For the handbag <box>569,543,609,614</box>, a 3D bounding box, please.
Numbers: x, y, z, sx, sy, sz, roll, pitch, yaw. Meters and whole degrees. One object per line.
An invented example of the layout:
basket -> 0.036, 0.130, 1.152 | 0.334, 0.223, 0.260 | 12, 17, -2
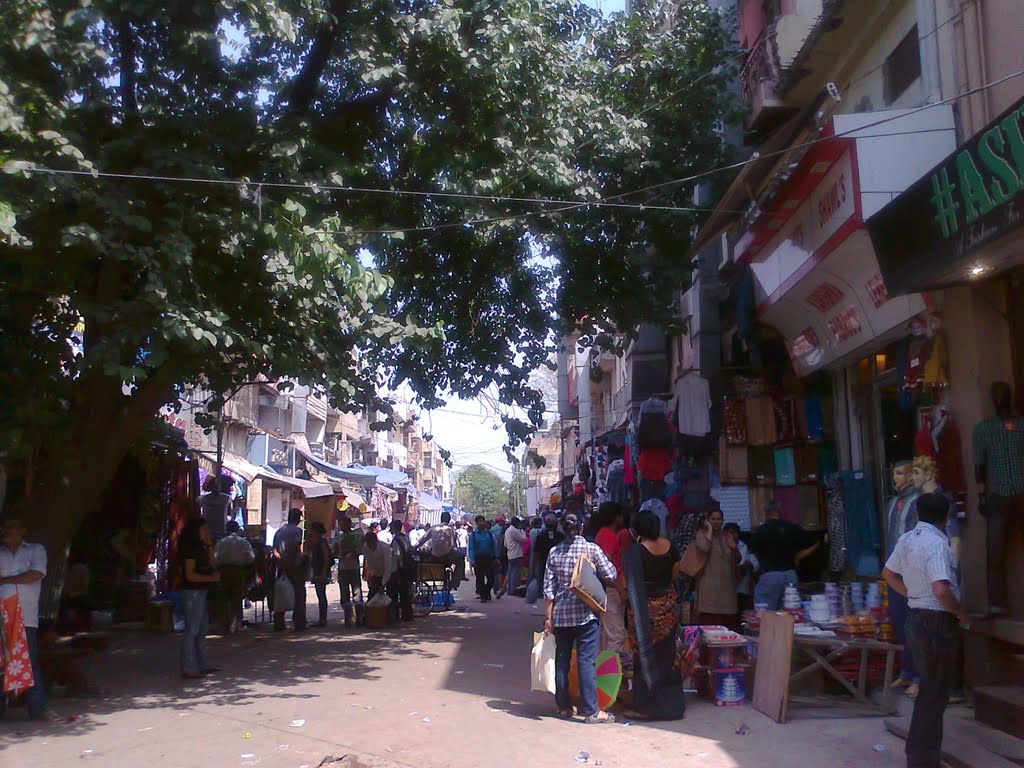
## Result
handbag -> 0.810, 2.062, 9.111 | 0.156, 0.532, 0.495 | -18, -7, 22

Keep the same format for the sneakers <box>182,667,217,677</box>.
sneakers -> -3.894, 3.644, 11.114 | 0.373, 0.184, 0.131 | -9, -9, 13

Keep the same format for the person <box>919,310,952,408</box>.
person -> 4.802, -0.296, 10.099 | 0.191, 1.091, 0.495 | -3, -15, 7

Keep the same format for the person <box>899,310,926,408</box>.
person -> 4.863, -0.300, 10.735 | 0.247, 0.862, 0.619 | 0, 0, 8

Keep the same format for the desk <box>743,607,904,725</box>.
desk -> 3.410, 2.992, 9.576 | 1.417, 1.000, 1.879 | -5, -16, 29

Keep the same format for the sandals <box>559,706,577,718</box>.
sandals -> 0.596, 3.416, 9.209 | 0.189, 0.110, 0.381 | -2, -17, 3

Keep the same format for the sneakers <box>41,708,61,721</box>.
sneakers -> -4.648, 3.380, 9.020 | 0.076, 0.103, 0.220 | 1, -2, 33

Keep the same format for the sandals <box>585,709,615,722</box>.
sandals -> 0.900, 3.364, 8.919 | 0.225, 0.102, 0.124 | 2, -3, -33
